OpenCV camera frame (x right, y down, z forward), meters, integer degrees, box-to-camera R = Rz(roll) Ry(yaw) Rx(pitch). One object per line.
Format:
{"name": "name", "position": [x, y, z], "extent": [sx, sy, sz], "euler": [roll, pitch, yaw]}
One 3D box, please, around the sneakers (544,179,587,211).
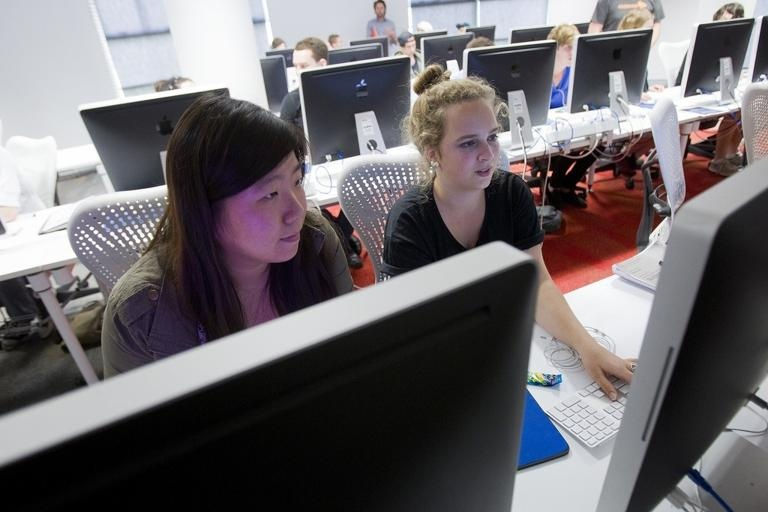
{"name": "sneakers", "position": [1.369, -0.468, 3.733], "extent": [0.338, 0.253, 0.154], "euler": [3, 38, 17]}

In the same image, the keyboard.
{"name": "keyboard", "position": [0.458, 0.348, 1.084], "extent": [0.276, 0.031, 0.151], "euler": [-23, 34, -33]}
